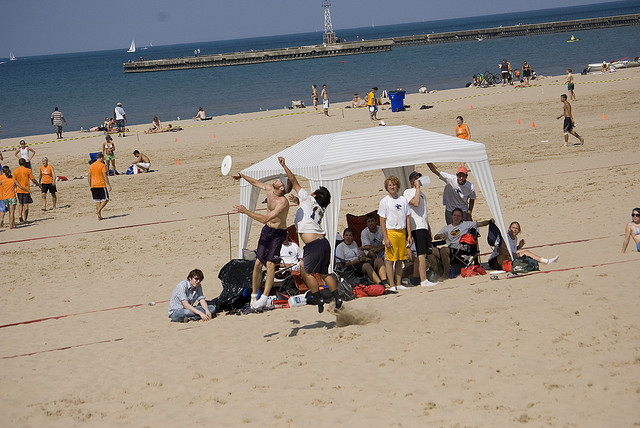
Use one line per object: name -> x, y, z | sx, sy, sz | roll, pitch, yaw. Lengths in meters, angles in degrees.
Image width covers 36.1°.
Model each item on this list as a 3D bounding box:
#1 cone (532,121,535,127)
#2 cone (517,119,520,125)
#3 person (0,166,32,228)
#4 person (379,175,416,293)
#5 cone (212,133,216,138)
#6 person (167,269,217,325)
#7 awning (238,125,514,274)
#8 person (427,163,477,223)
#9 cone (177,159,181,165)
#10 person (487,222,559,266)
cone -> 8.175, -3.431, 37.852 | 0.148, 0.194, 0.137 | 3, -7, -17
cone -> 7.780, -3.583, 38.663 | 0.156, 0.218, 0.166 | -3, -25, 9
person -> -9.667, -0.539, 31.007 | 0.453, 1.957, 0.739 | 1, 14, 32
person -> 1.942, 0.497, 24.919 | 0.867, 2.894, 0.860 | -6, 12, 5
cone -> -4.608, -3.391, 42.889 | 0.143, 0.152, 0.144 | 0, -2, 1
person -> -3.255, 2.086, 24.856 | 1.414, 1.376, 1.101 | 1, 2, 32
awning -> 1.147, 0.257, 25.767 | 4.806, 2.615, 4.851 | 8, 14, 43
person -> 3.437, -0.251, 25.998 | 1.233, 2.662, 0.716 | 2, 26, 4
cone -> -5.414, -1.957, 37.733 | 0.141, 0.177, 0.140 | -5, -10, 34
person -> 5.232, 0.839, 25.229 | 0.885, 1.209, 1.932 | 0, 2, -42
